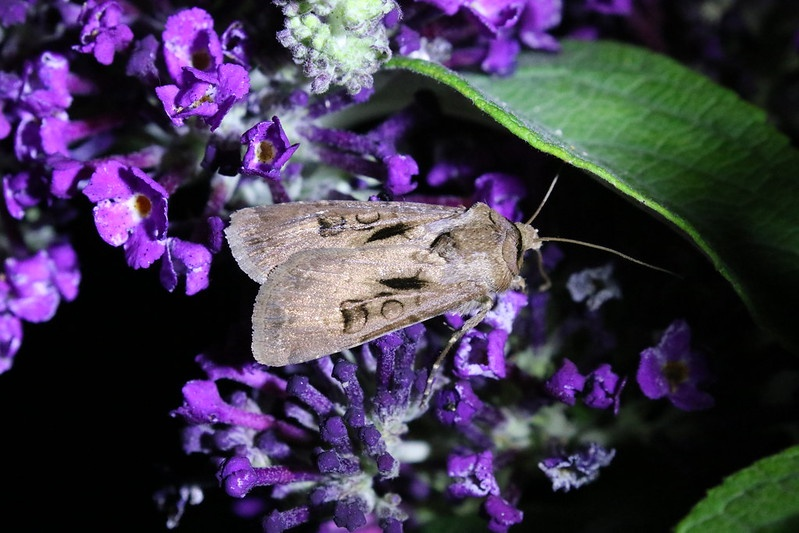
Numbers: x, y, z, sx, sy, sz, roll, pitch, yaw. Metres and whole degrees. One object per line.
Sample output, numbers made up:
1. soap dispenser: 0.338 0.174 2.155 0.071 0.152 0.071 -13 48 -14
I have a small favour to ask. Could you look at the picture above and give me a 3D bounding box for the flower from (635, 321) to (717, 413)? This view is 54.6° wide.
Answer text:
1. flower: 0.977 0.377 2.783 0.228 0.100 0.333 1 74 -16
